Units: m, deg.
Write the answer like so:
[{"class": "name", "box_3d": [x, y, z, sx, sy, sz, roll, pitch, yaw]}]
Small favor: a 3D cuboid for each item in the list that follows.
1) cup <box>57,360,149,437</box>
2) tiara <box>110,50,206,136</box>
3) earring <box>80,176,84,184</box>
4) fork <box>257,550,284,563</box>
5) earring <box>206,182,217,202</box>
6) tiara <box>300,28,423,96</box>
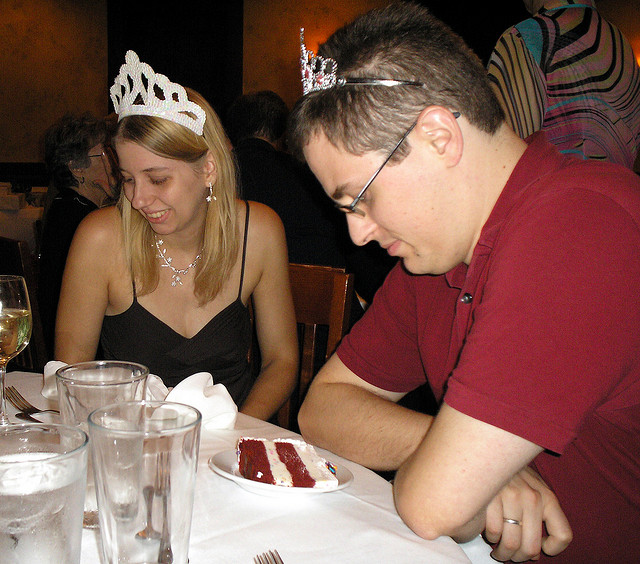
[{"class": "cup", "box_3d": [-0.352, 0.160, 0.903, 0.111, 0.130, 0.145, 1, -2, 0]}, {"class": "tiara", "box_3d": [-0.604, -0.679, 2.003, 0.338, 0.266, 0.250, 8, 13, 21]}, {"class": "earring", "box_3d": [-1.429, -0.618, 3.321, 0.032, 0.042, 0.007, -2, 2, -14]}, {"class": "fork", "box_3d": [-0.072, 0.395, 0.791, 0.033, 0.004, 0.031, -3, 15, -26]}, {"class": "earring", "box_3d": [-0.420, -0.351, 2.144, 0.024, 0.071, 0.042, 11, 14, 40]}, {"class": "tiara", "box_3d": [0.049, -0.399, 1.125, 0.156, 0.062, 0.177, 0, 12, -7]}]
